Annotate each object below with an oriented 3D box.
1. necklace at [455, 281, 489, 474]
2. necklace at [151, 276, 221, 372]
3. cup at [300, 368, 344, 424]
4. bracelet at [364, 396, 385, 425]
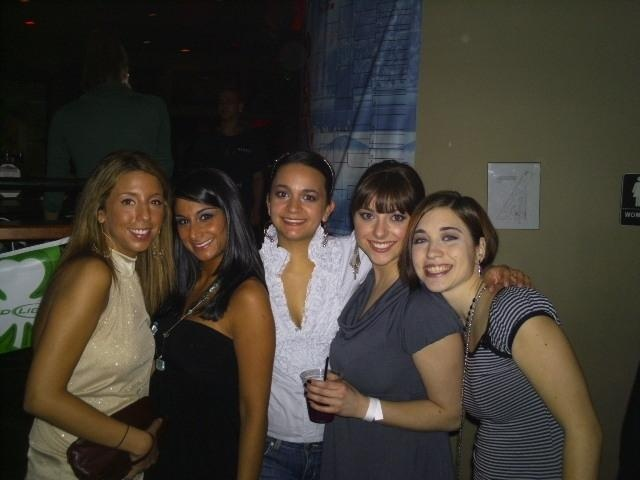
[{"bbox_3d":[0.797,0.877,2.870,0.138,1.279,0.172,6,0,21],"label":"necklace"},{"bbox_3d":[-0.804,0.523,3.036,0.121,0.677,0.113,41,-27,-19],"label":"necklace"},{"bbox_3d":[-0.009,0.896,2.976,0.271,0.293,0.278,-2,-8,0],"label":"cup"},{"bbox_3d":[0.293,0.935,2.786,0.113,0.086,0.098,16,0,-15],"label":"bracelet"}]
